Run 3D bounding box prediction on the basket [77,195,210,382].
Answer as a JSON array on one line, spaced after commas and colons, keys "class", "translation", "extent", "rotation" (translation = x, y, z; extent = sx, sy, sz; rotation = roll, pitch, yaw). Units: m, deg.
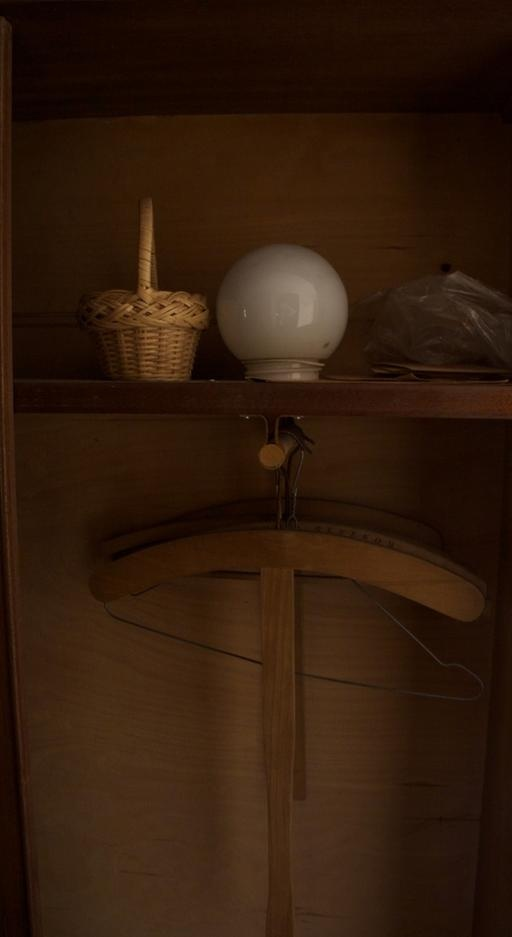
[{"class": "basket", "translation": [-0.138, -0.211, 1.065], "extent": [0.208, 0.267, 0.191], "rotation": [-1, 6, -5]}]
